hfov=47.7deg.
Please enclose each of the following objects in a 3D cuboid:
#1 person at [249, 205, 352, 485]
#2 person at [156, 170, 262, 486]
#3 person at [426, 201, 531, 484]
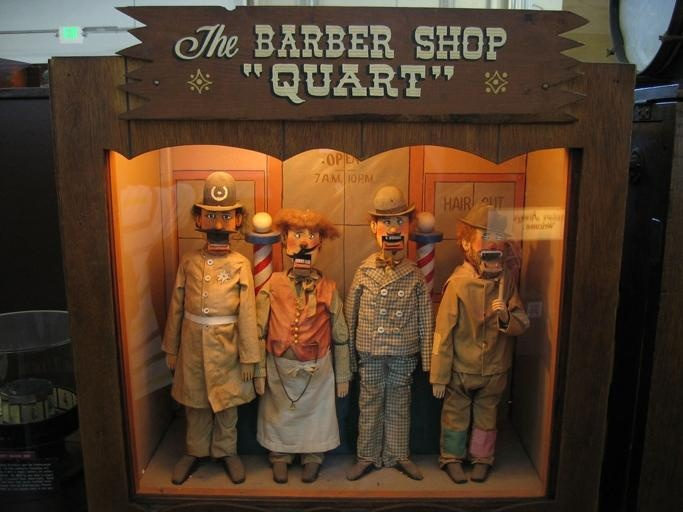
[{"bbox_3d":[-0.258,0.539,4.916,0.587,1.661,0.351,-6,10,-26],"label":"person"},{"bbox_3d":[-0.820,0.435,4.857,0.607,1.918,0.460,-3,9,-11],"label":"person"},{"bbox_3d":[0.867,0.533,4.854,0.610,1.705,0.383,-1,9,2],"label":"person"}]
